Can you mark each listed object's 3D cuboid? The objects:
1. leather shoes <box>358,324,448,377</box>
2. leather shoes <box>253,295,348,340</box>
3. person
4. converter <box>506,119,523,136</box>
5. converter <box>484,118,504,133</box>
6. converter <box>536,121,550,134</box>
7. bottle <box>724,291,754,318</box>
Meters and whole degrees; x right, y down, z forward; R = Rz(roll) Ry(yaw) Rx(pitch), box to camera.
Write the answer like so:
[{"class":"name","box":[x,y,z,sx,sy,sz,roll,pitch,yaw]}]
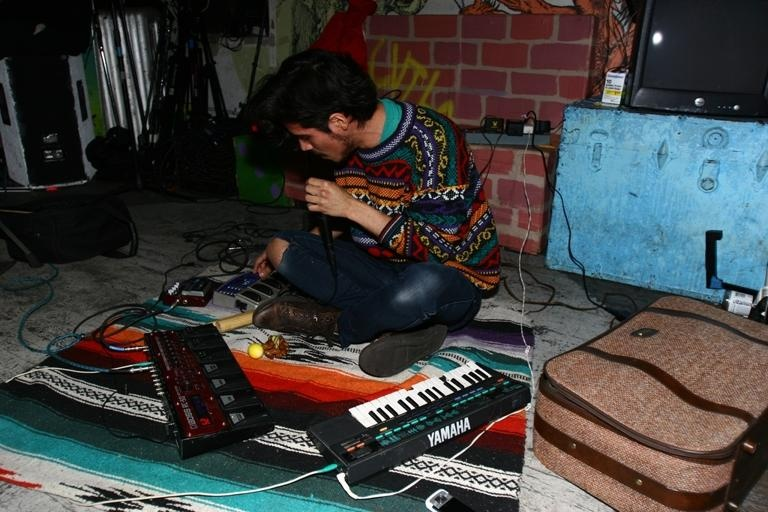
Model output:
[{"class":"leather shoes","box":[0.031,0.451,2.873,0.232,0.226,0.591,16,3,-2]},{"class":"leather shoes","box":[-0.450,0.308,2.903,0.530,0.188,0.179,14,13,-8]},{"class":"person","box":[-0.049,-0.193,2.628,1.219,1.460,0.566,7,20,9]},{"class":"converter","box":[0.861,-0.875,3.763,0.130,0.104,0.111,0,18,-13]},{"class":"converter","box":[0.744,-0.890,3.765,0.142,0.087,0.071,0,2,8]},{"class":"converter","box":[1.074,-0.876,3.763,0.099,0.062,0.096,10,14,31]},{"class":"bottle","box":[1.796,0.248,2.804,0.106,0.090,0.095,11,32,12]}]
